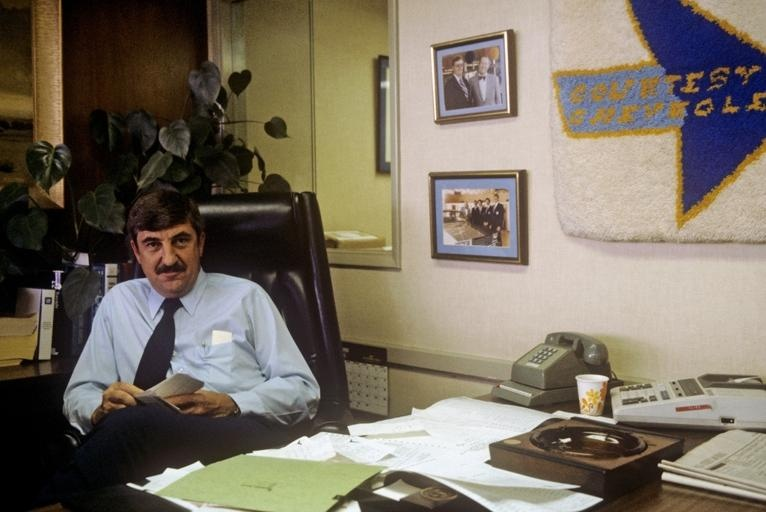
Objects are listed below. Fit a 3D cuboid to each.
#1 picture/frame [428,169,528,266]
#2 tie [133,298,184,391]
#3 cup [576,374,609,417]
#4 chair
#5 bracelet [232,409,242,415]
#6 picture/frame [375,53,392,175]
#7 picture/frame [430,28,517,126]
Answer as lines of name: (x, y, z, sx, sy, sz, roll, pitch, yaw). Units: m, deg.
picture/frame: (0.429, -0.171, 2.437, 0.456, 0.357, 0.036, 0, 3, 33)
tie: (-0.836, 0.324, 2.088, 0.110, 0.296, 0.198, 0, 8, 8)
cup: (0.648, 0.429, 1.744, 0.118, 0.108, 0.115, 1, -2, 0)
chair: (-0.727, 0.195, 2.524, 0.809, 0.984, 0.815, -11, 4, 2)
bracelet: (-0.516, 0.555, 1.987, 0.024, 0.022, 0.023, -1, -19, -7)
picture/frame: (-0.005, -0.824, 3.276, 0.090, 0.692, 0.174, -1, 8, 4)
picture/frame: (0.386, -0.766, 2.437, 0.044, 0.335, 0.410, -19, 19, -40)
